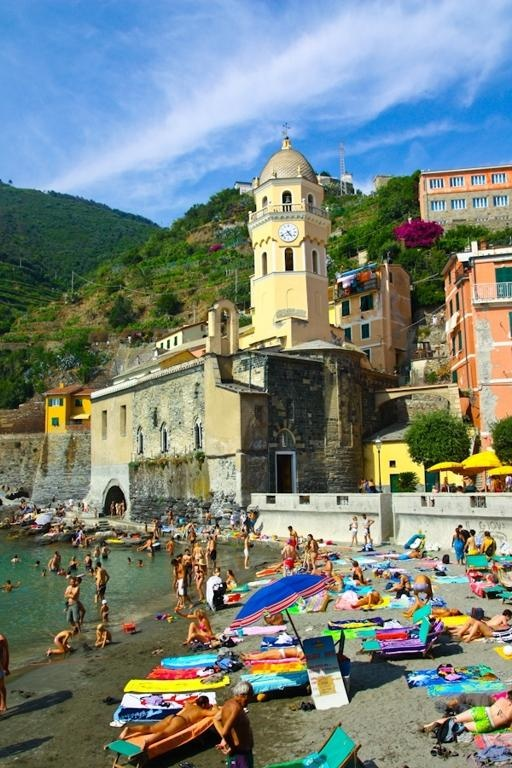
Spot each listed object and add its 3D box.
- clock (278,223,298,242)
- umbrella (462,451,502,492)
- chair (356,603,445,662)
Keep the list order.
[{"bbox_3d":[1.809,-8.071,33.278,0.918,0.916,0.925,11,9,12],"label":"clock"},{"bbox_3d":[7.912,3.046,21.096,1.301,0.633,1.285,-11,5,-19],"label":"umbrella"},{"bbox_3d":[2.199,3.676,9.035,0.793,0.409,0.851,-6,-17,4],"label":"chair"}]
